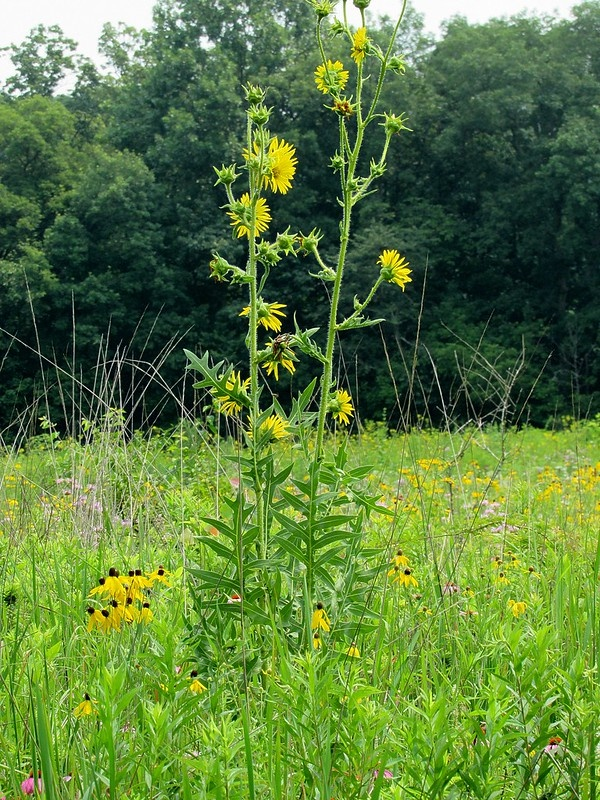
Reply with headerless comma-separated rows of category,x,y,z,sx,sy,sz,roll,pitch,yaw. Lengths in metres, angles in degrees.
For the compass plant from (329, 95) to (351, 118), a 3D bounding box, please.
compass plant,0.116,-0.828,3.341,0.071,0.069,0.033,0,-19,-16
